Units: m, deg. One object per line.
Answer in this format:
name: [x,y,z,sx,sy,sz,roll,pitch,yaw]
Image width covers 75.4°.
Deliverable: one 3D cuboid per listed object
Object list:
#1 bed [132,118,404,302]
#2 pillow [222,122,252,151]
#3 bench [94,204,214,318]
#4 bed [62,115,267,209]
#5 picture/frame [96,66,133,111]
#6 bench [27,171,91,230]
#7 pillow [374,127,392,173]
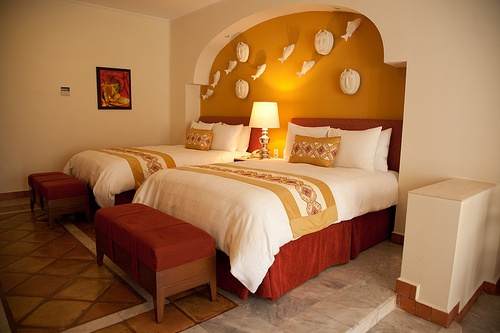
bed: [0.607,0.431,4.069,2.196,1.390,2.221,9,14,42]
pillow: [-0.250,-0.556,6.190,0.454,0.459,0.184,3,-4,38]
bench: [-1.148,0.928,3.705,0.719,0.688,1.642,-6,12,-43]
bed: [-1.602,-0.083,5.834,2.311,0.991,1.948,-4,9,-40]
picture/frame: [-2.912,-1.662,6.856,0.953,1.109,0.074,-5,8,-42]
bench: [-3.126,0.473,5.236,0.615,0.631,1.340,-8,14,-41]
pillow: [1.879,-0.221,4.657,0.149,0.490,0.517,7,-6,24]
